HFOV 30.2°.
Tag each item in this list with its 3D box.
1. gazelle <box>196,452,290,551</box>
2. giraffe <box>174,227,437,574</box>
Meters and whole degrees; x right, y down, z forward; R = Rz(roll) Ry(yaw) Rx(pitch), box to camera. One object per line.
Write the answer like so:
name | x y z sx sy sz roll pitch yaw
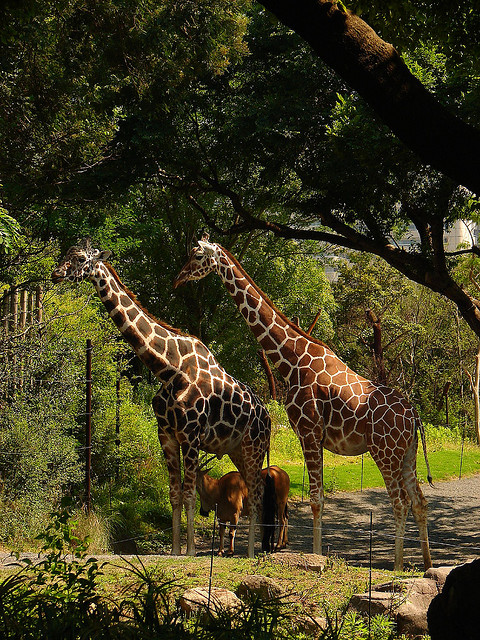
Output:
gazelle | -0.055 2.085 10.017 1.341 1.039 0.439 -1 -9 3
giraffe | 1.299 1.382 11.980 2.551 3.520 9.235 0 -13 12
